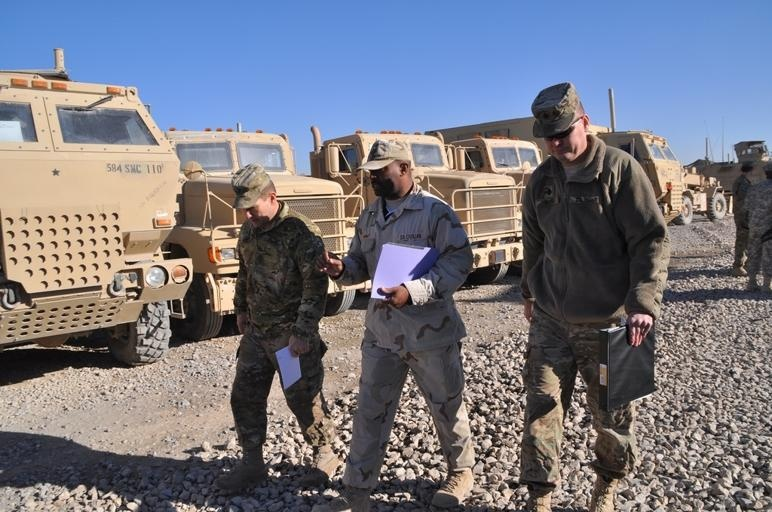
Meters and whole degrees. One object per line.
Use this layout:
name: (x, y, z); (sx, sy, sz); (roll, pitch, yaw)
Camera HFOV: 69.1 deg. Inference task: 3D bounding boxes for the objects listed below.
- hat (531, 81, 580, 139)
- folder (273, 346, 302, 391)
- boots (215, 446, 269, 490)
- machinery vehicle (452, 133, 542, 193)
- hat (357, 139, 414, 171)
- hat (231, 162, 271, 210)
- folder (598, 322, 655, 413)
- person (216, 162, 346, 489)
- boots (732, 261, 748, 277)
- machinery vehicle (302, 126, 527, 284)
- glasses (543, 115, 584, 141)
hat: (1.020, -0.858, 3.319); (0.284, 0.323, 0.150); (-1, 8, 18)
folder: (-0.661, 0.786, 3.824); (0.151, 0.326, 0.122); (-2, 8, 8)
boots: (-1.062, 1.540, 4.128); (0.379, 0.270, 0.168); (-1, 1, -30)
machinery vehicle: (2.461, -2.098, 11.704); (1.459, 1.119, 2.041); (-6, 4, -36)
hat: (-0.003, -0.661, 3.670); (0.289, 0.138, 0.190); (-9, 9, -28)
hat: (-0.942, -0.486, 3.925); (0.268, 0.310, 0.215); (-6, 8, -24)
folder: (1.435, 0.638, 3.337); (0.470, 0.471, 0.114); (-8, 7, -33)
person: (-0.814, 0.559, 4.102); (0.895, 2.281, 0.684); (1, 6, 14)
boots: (6.299, 0.238, 10.017); (0.308, 0.288, 0.267); (4, -4, -44)
machinery vehicle: (0.347, -1.083, 10.508); (3.578, 2.113, 2.410); (5, 9, 44)
glasses: (1.034, -0.755, 3.318); (0.183, 0.077, 0.136); (-46, 24, -28)
